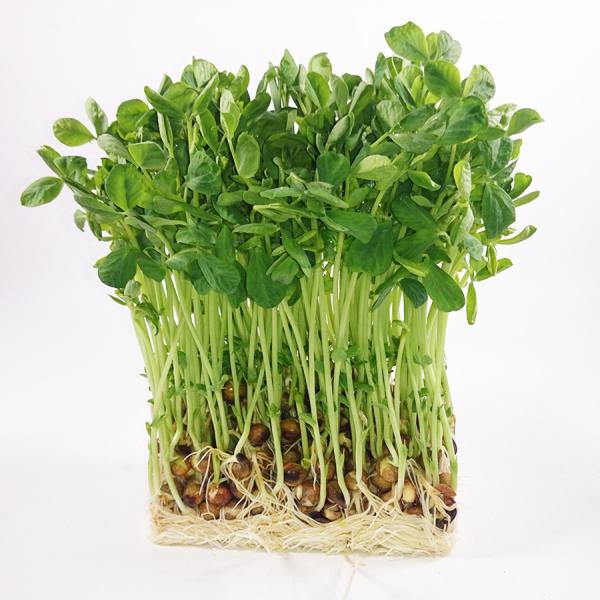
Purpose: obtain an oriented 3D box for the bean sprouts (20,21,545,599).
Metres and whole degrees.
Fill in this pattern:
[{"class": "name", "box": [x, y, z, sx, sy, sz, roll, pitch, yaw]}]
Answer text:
[{"class": "bean sprouts", "box": [-0.019, -0.021, 1.104, 0.827, 0.694, 0.756, 10, -38, -4]}]
